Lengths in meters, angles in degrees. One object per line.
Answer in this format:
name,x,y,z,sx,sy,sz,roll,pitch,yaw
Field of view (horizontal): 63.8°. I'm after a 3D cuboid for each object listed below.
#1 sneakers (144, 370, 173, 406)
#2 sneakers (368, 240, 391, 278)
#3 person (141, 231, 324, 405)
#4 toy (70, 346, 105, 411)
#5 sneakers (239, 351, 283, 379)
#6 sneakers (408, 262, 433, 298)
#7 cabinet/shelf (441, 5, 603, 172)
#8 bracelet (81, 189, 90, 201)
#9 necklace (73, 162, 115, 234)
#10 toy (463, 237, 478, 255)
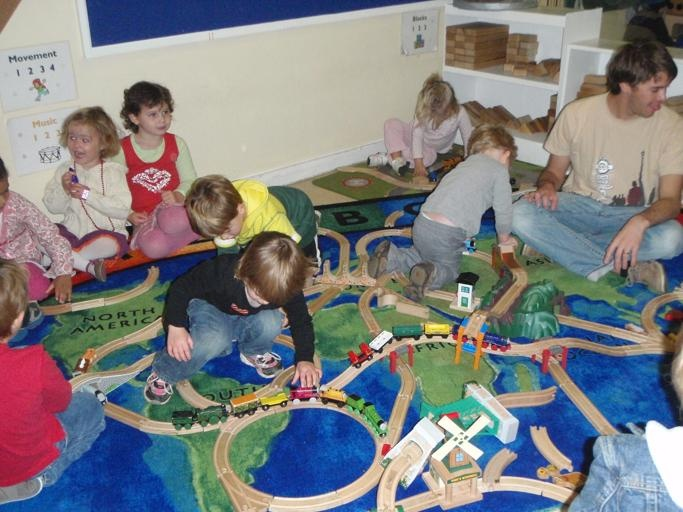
sneakers,-1.097,0.807,3.259,0.120,0.089,0.217,7,58,-10
sneakers,0.284,0.022,4.136,0.149,0.285,0.073,18,19,7
person,-0.610,0.329,3.274,0.926,1.290,0.875,-3,46,-24
toy,-1.529,0.754,3.300,0.055,0.074,0.500,-34,38,-9
sneakers,-0.480,0.683,3.426,0.282,0.121,0.121,21,63,5
sneakers,0.578,0.193,3.978,0.158,0.261,0.097,16,-2,29
cabinet/shelf,1.821,-1.720,5.472,1.672,1.667,0.593,28,51,29
bracelet,-1.975,-0.469,4.225,0.067,0.090,0.024,-11,23,-20
necklace,-1.974,-0.492,4.330,0.195,0.640,0.013,-7,20,2
toy,1.069,-0.078,4.549,0.129,0.085,0.166,1,11,7
